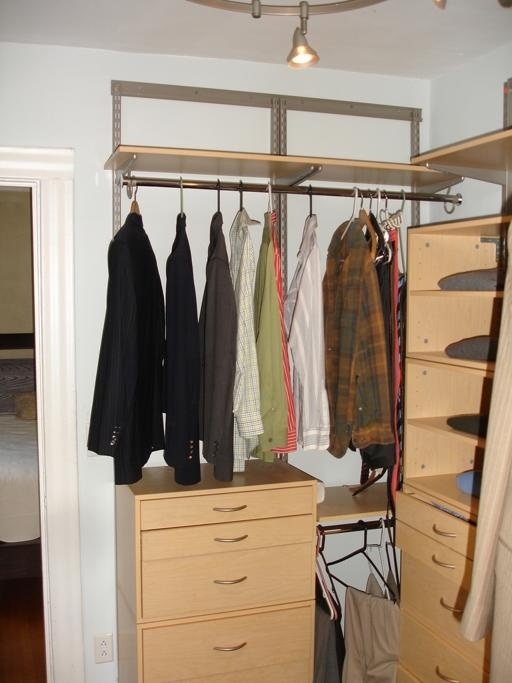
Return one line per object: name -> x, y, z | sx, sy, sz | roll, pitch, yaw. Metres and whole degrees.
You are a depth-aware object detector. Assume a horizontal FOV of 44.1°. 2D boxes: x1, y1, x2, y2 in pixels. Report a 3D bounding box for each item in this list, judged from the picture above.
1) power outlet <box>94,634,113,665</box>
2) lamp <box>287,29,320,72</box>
power outlet -> -0.573, 1.144, 2.353 | 0.078, 0.164, 0.014 | 0, 1, -23
lamp -> 0.114, -0.718, 1.573 | 0.069, 0.118, 0.086 | -7, -8, 3
